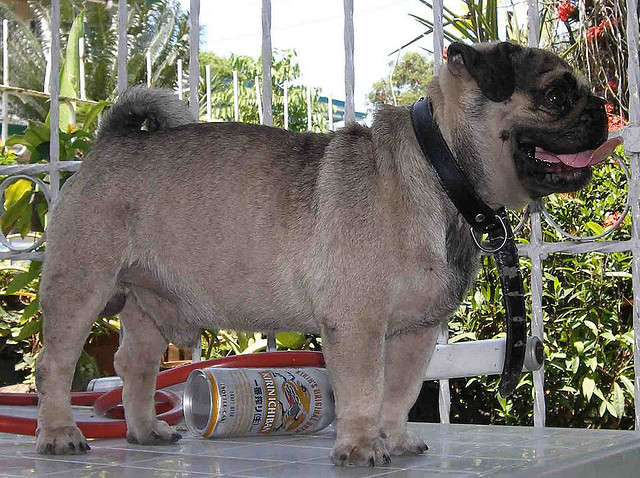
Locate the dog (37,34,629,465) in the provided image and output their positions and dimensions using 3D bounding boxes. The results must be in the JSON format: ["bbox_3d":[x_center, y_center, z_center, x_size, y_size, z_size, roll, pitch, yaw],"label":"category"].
[{"bbox_3d":[-0.034,0.056,2.807,1.977,1.579,0.828,0,-1,12],"label":"dog"}]
